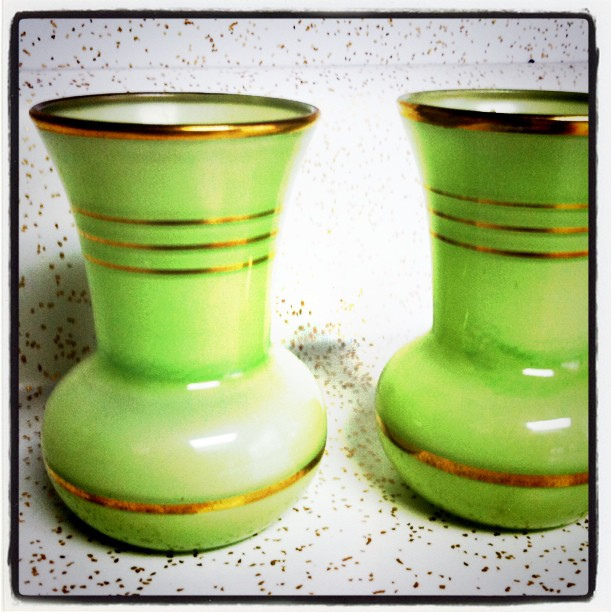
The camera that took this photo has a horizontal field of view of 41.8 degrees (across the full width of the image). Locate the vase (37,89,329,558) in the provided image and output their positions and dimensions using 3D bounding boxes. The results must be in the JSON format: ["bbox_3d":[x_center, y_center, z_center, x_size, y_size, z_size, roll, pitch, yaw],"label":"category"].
[{"bbox_3d":[-0.105,0.020,0.745,0.261,0.402,0.234,2,22,2],"label":"vase"}]
